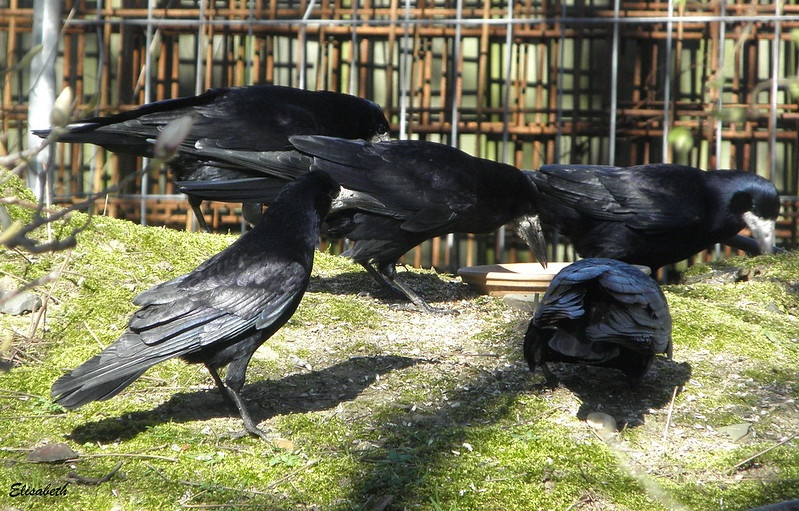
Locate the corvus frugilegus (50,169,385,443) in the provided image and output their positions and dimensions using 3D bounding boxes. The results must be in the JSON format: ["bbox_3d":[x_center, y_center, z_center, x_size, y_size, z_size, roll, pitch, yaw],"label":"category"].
[{"bbox_3d":[-1.504,0.362,10.679,1.971,2.030,0.617,3,6,-16],"label":"corvus frugilegus"}]
